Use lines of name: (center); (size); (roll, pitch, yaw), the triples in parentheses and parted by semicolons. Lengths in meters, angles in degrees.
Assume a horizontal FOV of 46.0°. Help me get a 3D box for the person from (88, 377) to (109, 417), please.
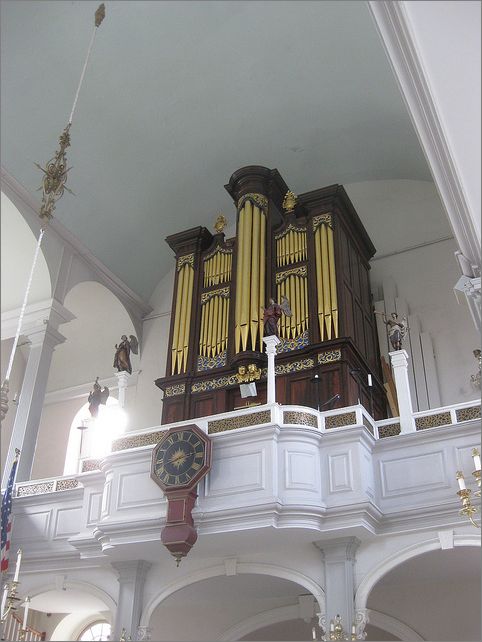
person: (-2.703, 1.463, 10.659); (0.313, 0.907, 0.833); (9, -30, -13)

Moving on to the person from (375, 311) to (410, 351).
person: (2.355, 0.156, 8.696); (0.528, 0.736, 0.153); (3, -37, 5)

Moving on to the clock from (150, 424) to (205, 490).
clock: (-0.778, 1.734, 7.130); (0.725, 0.753, 0.079); (-21, -51, 23)
